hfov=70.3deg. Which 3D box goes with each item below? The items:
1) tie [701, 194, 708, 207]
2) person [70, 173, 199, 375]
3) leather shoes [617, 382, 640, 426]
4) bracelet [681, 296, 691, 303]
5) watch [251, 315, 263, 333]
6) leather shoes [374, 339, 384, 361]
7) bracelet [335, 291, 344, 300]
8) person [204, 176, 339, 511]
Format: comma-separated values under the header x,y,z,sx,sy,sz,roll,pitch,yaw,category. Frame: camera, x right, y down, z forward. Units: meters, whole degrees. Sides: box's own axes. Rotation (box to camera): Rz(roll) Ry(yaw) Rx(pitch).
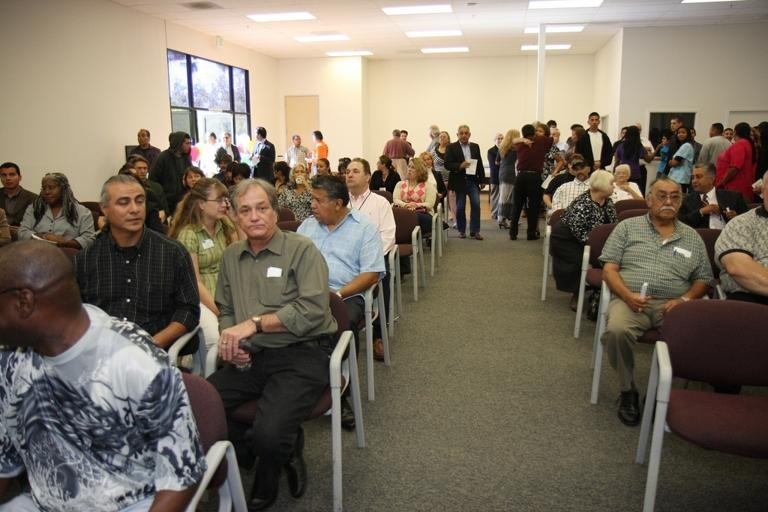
x,y,z,sx,sy,sz,roll,pitch,yaw,category
2.887,-0.513,4.921,0.031,0.064,0.099,17,60,46,tie
-1.376,0.112,3.014,0.658,1.171,0.601,-4,0,-35,person
1.577,0.915,3.507,0.121,0.130,0.349,1,27,27,leather shoes
1.843,0.256,3.338,0.045,0.012,0.047,7,20,44,bracelet
-0.627,0.337,2.754,0.047,0.077,0.075,-1,-22,-10,watch
-0.043,0.734,4.306,0.060,0.129,0.184,-1,-5,-9,leather shoes
-0.269,0.227,3.323,0.050,0.073,0.025,-13,-11,22,bracelet
-0.562,0.380,2.815,0.662,1.513,0.702,-5,11,-20,person
